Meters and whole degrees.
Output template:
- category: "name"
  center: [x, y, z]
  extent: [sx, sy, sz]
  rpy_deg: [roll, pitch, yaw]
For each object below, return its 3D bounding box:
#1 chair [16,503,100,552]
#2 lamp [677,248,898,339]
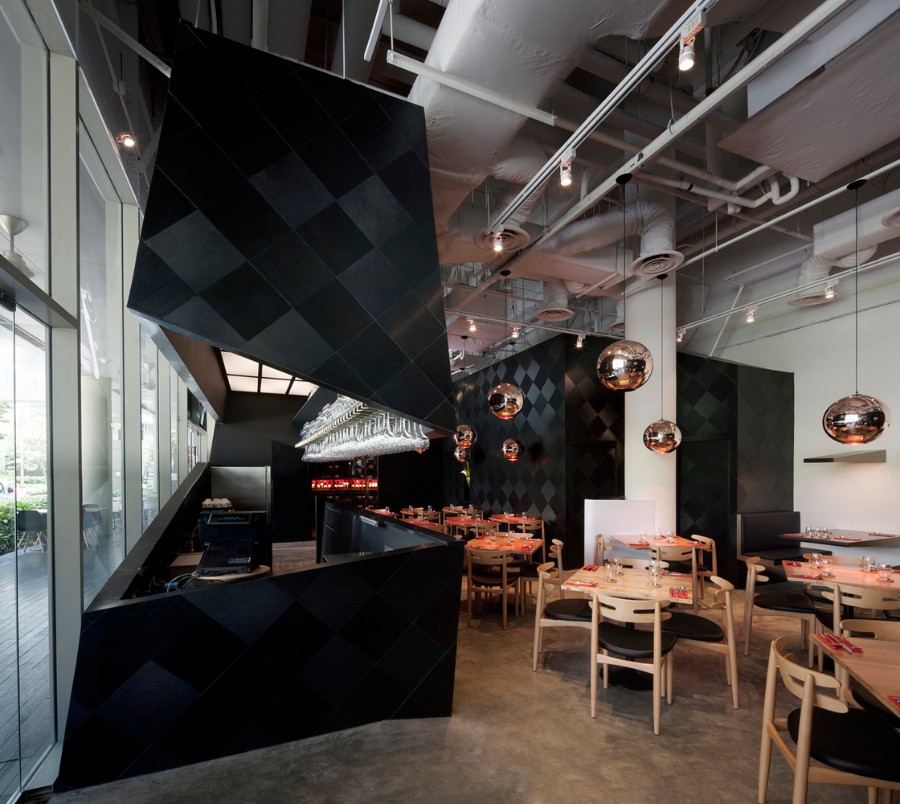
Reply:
- category: "chair"
  center: [-2.401, 0.773, 4.346]
  extent: [0.316, 0.437, 0.345]
  rpy_deg: [0, -5, -6]
- category: "lamp"
  center: [3.940, -1.221, 8.357]
  extent: [0.936, 0.766, 2.931]
  rpy_deg: [-1, 2, -22]
